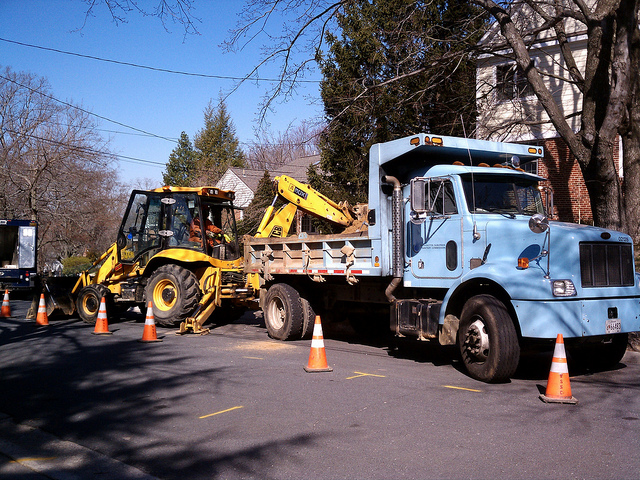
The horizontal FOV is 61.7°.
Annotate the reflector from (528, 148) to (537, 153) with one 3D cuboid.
[{"bbox_3d":[4.371,-1.851,11.019,0.281,0.122,0.017,5,-6,-32],"label":"reflector"}]

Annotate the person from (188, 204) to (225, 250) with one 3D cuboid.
[{"bbox_3d":[-3.316,-0.290,15.246,0.924,1.407,1.191,-4,-3,21],"label":"person"}]

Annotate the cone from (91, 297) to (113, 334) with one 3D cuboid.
[{"bbox_3d":[-5.783,1.984,14.192,0.624,0.996,0.641,5,-7,-19],"label":"cone"}]

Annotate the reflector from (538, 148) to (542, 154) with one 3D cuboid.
[{"bbox_3d":[4.584,-1.863,11.164,0.164,0.134,0.019,6,-7,-42],"label":"reflector"}]

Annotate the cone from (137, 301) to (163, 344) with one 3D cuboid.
[{"bbox_3d":[-4.048,1.954,12.759,0.660,0.907,0.676,-1,-2,43],"label":"cone"}]

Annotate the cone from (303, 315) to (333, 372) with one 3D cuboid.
[{"bbox_3d":[-0.057,1.787,9.544,0.414,1.040,0.478,0,-1,3],"label":"cone"}]

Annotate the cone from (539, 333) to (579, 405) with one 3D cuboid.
[{"bbox_3d":[3.432,1.847,7.724,0.522,0.968,0.358,-2,-6,25],"label":"cone"}]

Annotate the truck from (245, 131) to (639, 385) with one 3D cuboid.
[{"bbox_3d":[2.189,0.312,11.977,4.063,4.524,8.302,3,-7,-36],"label":"truck"}]

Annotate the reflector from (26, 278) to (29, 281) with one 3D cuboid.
[{"bbox_3d":[-13.006,1.748,23.840,0.098,0.113,0.064,3,-6,-26],"label":"reflector"}]

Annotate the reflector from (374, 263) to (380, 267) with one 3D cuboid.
[{"bbox_3d":[1.123,0.492,10.589,0.015,0.078,0.143,5,-7,-42],"label":"reflector"}]
